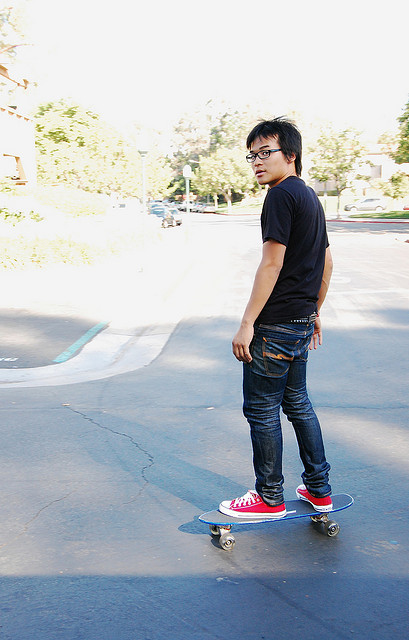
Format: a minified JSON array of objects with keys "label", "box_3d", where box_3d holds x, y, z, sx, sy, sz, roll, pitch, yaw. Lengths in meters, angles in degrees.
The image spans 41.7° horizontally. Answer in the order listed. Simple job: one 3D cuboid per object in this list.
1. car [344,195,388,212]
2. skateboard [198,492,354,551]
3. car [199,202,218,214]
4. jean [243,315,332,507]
[{"label":"car","box_3d":[20.351,-14.886,68.130,4.817,1.868,2.189,3,12,9]},{"label":"skateboard","box_3d":[0.414,1.025,2.759,0.856,0.136,0.279,-7,9,-11]},{"label":"car","box_3d":[0.468,-19.824,96.168,2.443,2.027,5.897,-1,6,-2]},{"label":"jean","box_3d":[0.415,0.448,2.696,0.464,0.958,0.207,-3,8,-21]}]
